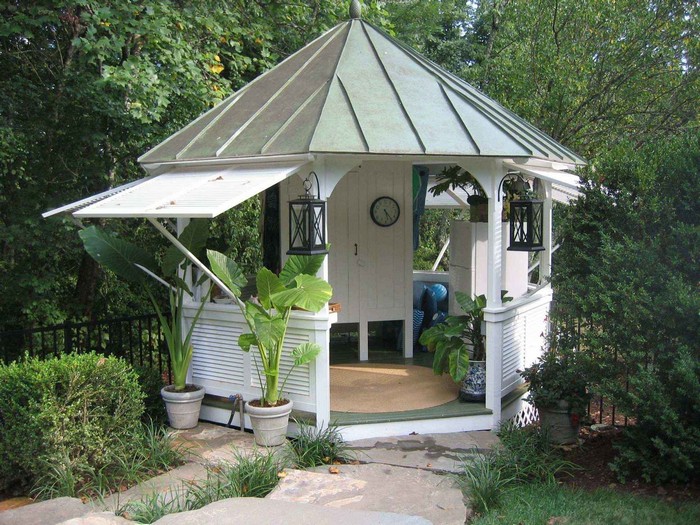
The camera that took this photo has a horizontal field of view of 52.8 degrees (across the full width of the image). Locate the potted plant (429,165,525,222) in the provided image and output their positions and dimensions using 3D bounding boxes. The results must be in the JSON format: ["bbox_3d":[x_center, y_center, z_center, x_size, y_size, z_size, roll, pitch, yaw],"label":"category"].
[{"bbox_3d":[2.236,-1.254,12.402,1.156,0.704,1.425,-1,2,10],"label":"potted plant"}]

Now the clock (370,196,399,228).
[{"bbox_3d":[0.601,-0.933,12.756,0.439,0.493,0.135,-11,9,-27],"label":"clock"}]
